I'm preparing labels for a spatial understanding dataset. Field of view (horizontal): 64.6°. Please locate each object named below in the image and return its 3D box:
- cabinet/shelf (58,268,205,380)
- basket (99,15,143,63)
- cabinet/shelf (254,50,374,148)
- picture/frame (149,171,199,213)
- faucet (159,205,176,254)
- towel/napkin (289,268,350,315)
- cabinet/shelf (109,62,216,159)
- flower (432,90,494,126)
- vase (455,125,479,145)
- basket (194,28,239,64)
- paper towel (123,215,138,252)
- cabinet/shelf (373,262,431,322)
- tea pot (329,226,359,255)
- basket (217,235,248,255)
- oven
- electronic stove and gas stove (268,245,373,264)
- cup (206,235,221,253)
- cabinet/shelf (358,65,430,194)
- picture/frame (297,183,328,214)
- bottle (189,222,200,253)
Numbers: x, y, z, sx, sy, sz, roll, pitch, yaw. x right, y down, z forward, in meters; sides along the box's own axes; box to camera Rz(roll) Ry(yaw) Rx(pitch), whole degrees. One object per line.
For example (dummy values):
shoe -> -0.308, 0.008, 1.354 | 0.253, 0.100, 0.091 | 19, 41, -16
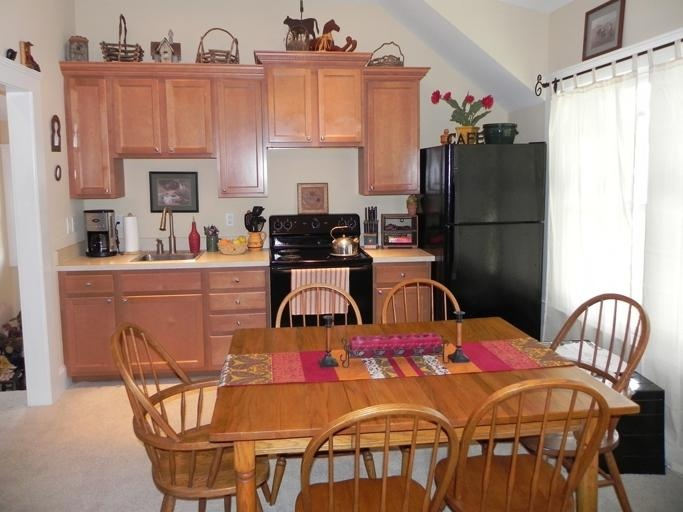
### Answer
cabinet/shelf -> -1.685, 0.486, 4.260 | 0.962, 0.744, 0.359 | -1, 5, -10
basket -> -1.866, -1.832, 4.597 | 0.351, 0.391, 0.256 | 3, 13, -4
cabinet/shelf -> -0.324, -1.377, 4.841 | 1.069, 0.759, 0.388 | -10, 20, -30
picture/frame -> -1.582, -0.611, 5.027 | 0.438, 0.379, 0.028 | 0, 3, -8
faucet -> -1.604, -0.233, 4.971 | 0.138, 0.428, 0.333 | -7, 10, -17
towel/napkin -> -0.189, 0.278, 4.236 | 0.416, 0.301, 0.031 | 0, -4, -8
cabinet/shelf -> -1.551, -1.263, 4.594 | 0.839, 0.672, 0.360 | -1, 8, -7
flower -> 1.062, -1.288, 4.772 | 0.587, 0.290, 0.583 | 14, 14, 37
vase -> 1.081, -1.035, 4.702 | 0.170, 0.112, 0.164 | 0, 2, -1
basket -> -1.085, -1.837, 4.762 | 0.376, 0.308, 0.356 | -12, 16, -43
paper towel -> -1.934, -0.206, 4.926 | 0.167, 0.354, 0.164 | -4, 6, -29
cabinet/shelf -> 0.538, 0.460, 4.755 | 0.527, 0.685, 0.458 | -1, -25, 9
tea pot -> 0.046, -0.138, 4.848 | 0.332, 0.269, 0.202 | -5, 13, -22
basket -> -0.972, -0.088, 4.827 | 0.233, 0.149, 0.148 | -7, 9, -18
oven -> -0.142, 0.365, 4.685 | 0.838, 0.555, 0.458 | -2, -9, 9
electronic stove and gas stove -> -0.207, -0.005, 4.772 | 0.840, 0.111, 0.549 | -5, 8, -8
cup -> -1.194, -0.108, 4.991 | 0.157, 0.168, 0.152 | 1, 3, 0
cabinet/shelf -> 0.382, -1.099, 4.925 | 0.777, 1.092, 0.317 | -9, 14, -28
picture/frame -> -0.293, -0.557, 5.150 | 0.310, 0.290, 0.022 | 0, 3, -9
bottle -> -1.357, -0.167, 4.977 | 0.118, 0.291, 0.244 | -7, 9, -15
